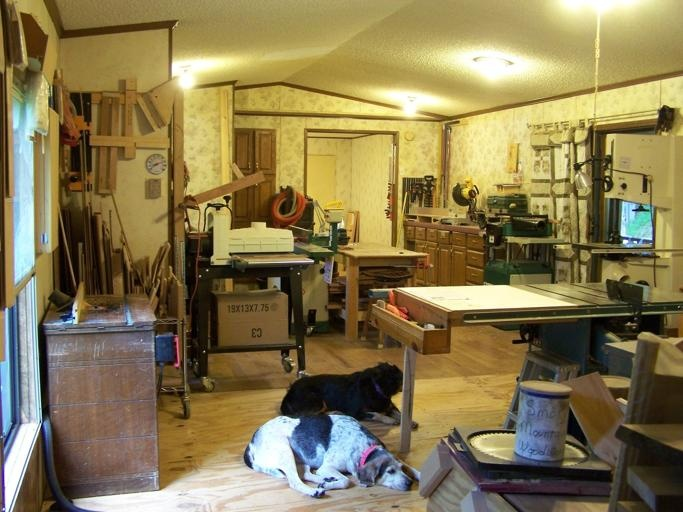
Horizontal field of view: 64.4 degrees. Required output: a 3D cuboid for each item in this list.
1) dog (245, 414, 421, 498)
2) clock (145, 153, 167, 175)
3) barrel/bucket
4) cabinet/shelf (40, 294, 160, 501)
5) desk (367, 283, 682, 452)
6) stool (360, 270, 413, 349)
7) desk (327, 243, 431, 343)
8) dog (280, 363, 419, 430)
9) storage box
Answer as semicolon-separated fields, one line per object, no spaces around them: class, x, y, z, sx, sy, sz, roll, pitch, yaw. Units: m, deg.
dog;-0.072;1.191;3.289;1.053;0.344;0.700;6;5;7
clock;-1.675;-0.828;4.903;0.191;0.187;0.043;-3;6;-18
barrel/bucket;0.622;0.551;1.833;0.219;0.234;0.208;1;-1;0
cabinet/shelf;-1.364;0.812;3.719;0.831;1.326;1.428;-2;6;-12
desk;1.154;0.753;3.708;1.710;1.044;0.810;-2;6;-15
stool;0.347;0.517;4.702;0.329;0.421;0.301;7;-8;-3
desk;0.437;0.653;6.710;0.941;1.095;1.683;-2;8;-14
dog;0.055;1.036;4.147;1.178;0.510;0.417;-1;1;7
storage box;-0.697;0.597;5.072;0.748;0.485;0.414;-4;-9;27
